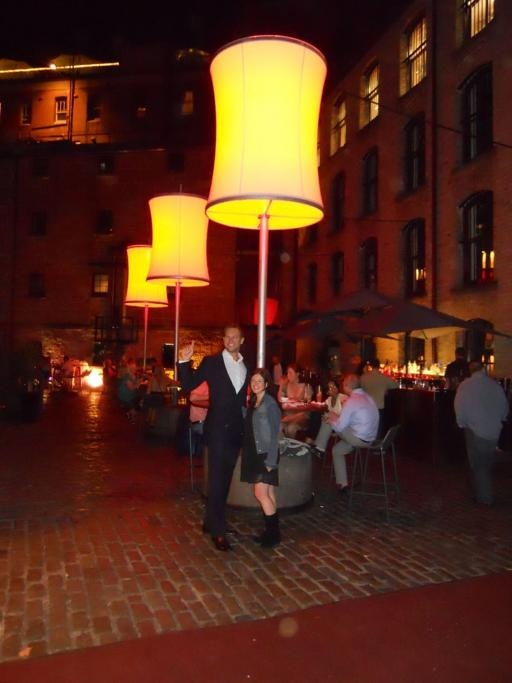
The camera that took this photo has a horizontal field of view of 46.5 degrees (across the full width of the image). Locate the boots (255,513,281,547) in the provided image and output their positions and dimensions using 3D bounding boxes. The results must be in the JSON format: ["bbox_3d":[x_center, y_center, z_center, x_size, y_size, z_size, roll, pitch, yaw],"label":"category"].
[{"bbox_3d":[0.096,1.585,5.016,0.205,0.261,0.175,2,-2,7],"label":"boots"}]

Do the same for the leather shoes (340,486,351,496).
[{"bbox_3d":[1.047,1.770,7.097,0.129,0.108,0.267,2,-2,7],"label":"leather shoes"}]

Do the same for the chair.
[{"bbox_3d":[1.562,1.545,7.594,0.514,0.808,0.545,5,-14,0],"label":"chair"}]

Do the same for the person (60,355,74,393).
[{"bbox_3d":[-8.277,1.402,26.046,0.543,1.134,2.330,3,-2,-18],"label":"person"}]
